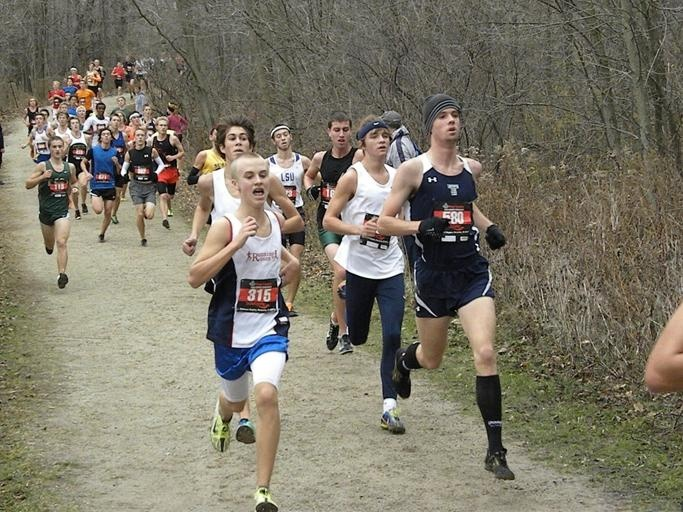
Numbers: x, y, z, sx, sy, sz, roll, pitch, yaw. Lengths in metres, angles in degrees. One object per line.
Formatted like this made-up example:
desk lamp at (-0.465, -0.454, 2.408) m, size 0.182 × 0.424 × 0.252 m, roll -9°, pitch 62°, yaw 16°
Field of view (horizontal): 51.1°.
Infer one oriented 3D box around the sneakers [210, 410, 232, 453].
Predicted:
sneakers at (-0.995, 1.443, 5.823) m, size 0.120 × 0.380 × 0.166 m, roll -9°, pitch 6°, yaw -27°

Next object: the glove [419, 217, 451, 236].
glove at (0.709, -0.213, 5.481) m, size 0.233 × 0.194 × 0.293 m, roll 3°, pitch 14°, yaw 9°

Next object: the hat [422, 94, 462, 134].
hat at (0.807, -1.154, 5.812) m, size 0.265 × 0.298 × 0.262 m, roll 1°, pitch 13°, yaw 3°

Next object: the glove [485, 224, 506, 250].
glove at (1.233, -0.156, 5.683) m, size 0.097 × 0.173 × 0.231 m, roll -22°, pitch 18°, yaw 4°

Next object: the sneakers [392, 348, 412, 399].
sneakers at (0.551, 1.114, 6.491) m, size 0.152 × 0.452 × 0.197 m, roll -14°, pitch 21°, yaw -20°

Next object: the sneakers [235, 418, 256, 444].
sneakers at (-0.760, 1.423, 5.691) m, size 0.146 × 0.238 × 0.200 m, roll -2°, pitch 14°, yaw -9°

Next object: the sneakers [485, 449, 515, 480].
sneakers at (1.122, 1.529, 5.136) m, size 0.170 × 0.237 × 0.267 m, roll 1°, pitch 14°, yaw 4°

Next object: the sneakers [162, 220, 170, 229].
sneakers at (-3.519, -0.598, 14.362) m, size 0.088 × 0.216 × 0.101 m, roll -3°, pitch 45°, yaw -13°

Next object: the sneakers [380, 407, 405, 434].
sneakers at (0.461, 1.452, 6.383) m, size 0.230 × 0.216 × 0.244 m, roll 2°, pitch 14°, yaw 5°

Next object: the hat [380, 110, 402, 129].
hat at (0.582, -1.665, 8.590) m, size 0.197 × 0.158 × 0.289 m, roll -12°, pitch 38°, yaw -30°

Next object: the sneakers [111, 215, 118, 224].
sneakers at (-4.721, -0.730, 14.950) m, size 0.084 × 0.114 × 0.260 m, roll -7°, pitch 17°, yaw -24°

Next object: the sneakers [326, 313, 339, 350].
sneakers at (-0.074, 0.864, 8.209) m, size 0.130 × 0.415 × 0.165 m, roll -2°, pitch 6°, yaw -32°

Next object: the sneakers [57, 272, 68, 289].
sneakers at (-3.849, 0.375, 9.883) m, size 0.126 × 0.284 × 0.131 m, roll 9°, pitch 18°, yaw -26°
